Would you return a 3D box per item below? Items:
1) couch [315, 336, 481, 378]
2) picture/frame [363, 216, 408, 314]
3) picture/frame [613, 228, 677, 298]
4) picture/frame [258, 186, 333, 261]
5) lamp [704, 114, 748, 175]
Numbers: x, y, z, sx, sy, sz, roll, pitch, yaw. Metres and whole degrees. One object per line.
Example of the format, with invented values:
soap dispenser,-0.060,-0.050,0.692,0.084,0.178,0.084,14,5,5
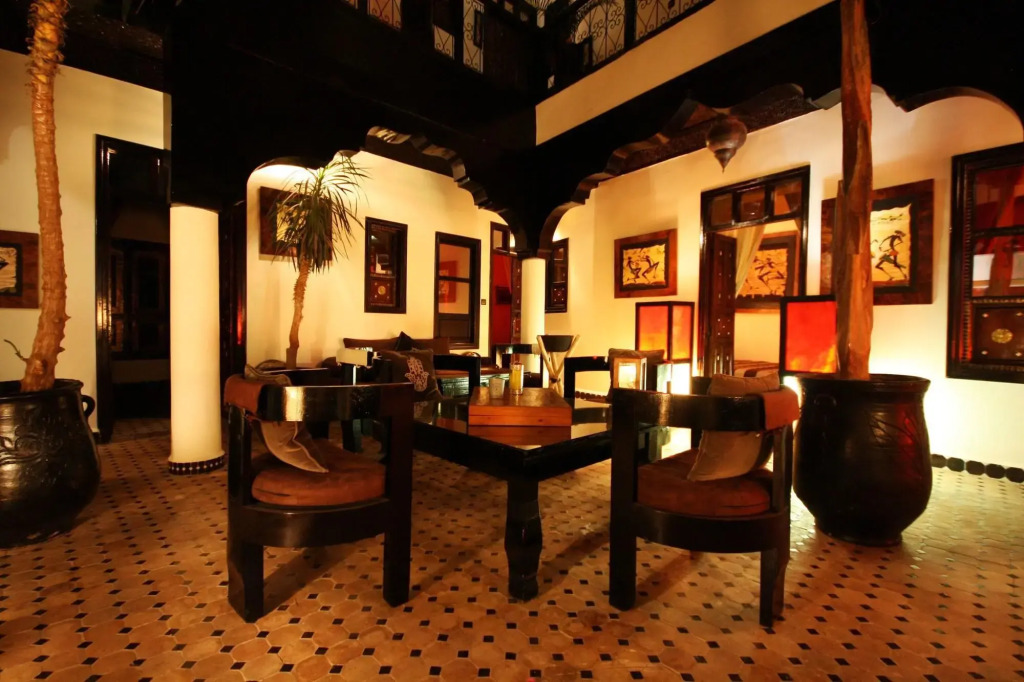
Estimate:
couch,-1.142,0.125,8.975,0.998,0.420,0.988,0,1,-36
picture/frame,-1.754,-1.042,9.881,0.215,1.309,0.676,1,1,36
picture/frame,1.938,-1.121,10.056,0.076,0.891,1.029,-1,4,-33
picture/frame,-2.615,-1.417,8.537,0.083,1.145,0.984,1,0,39
lamp,2.170,-2.061,7.121,0.335,0.551,0.325,0,1,26
